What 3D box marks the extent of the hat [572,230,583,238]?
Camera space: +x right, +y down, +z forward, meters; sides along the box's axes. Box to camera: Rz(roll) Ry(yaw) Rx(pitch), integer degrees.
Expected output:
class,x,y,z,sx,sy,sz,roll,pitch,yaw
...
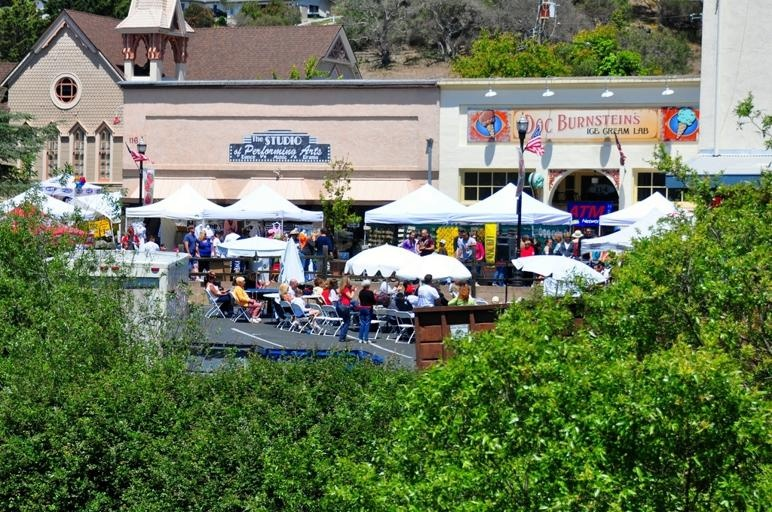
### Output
class,x,y,z,sx,sy,sz,roll,pitch,yaw
hat,8.843,-0.885,91.569,0.381,0.165,0.398,2,11,-7

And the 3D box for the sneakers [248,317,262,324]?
class,x,y,z,sx,sy,sz,roll,pitch,yaw
sneakers,-5.378,2.783,83.256,0.390,0.189,0.221,-3,3,17

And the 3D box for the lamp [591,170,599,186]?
class,x,y,z,sx,sy,sz,roll,pitch,yaw
lamp,11.003,-3.908,104.815,0.587,0.794,0.882,0,12,4

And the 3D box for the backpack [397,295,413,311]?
class,x,y,z,sx,sy,sz,roll,pitch,yaw
backpack,0.795,2.043,82.557,0.636,0.273,0.511,11,1,12

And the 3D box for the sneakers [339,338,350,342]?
class,x,y,z,sx,sy,sz,roll,pitch,yaw
sneakers,-1.664,3.525,81.630,0.389,0.180,0.137,-2,6,-4

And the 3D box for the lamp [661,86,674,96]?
class,x,y,z,sx,sy,sz,roll,pitch,yaw
lamp,13.534,-7.830,95.761,0.376,0.431,0.388,8,20,35

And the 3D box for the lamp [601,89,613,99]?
class,x,y,z,sx,sy,sz,roll,pitch,yaw
lamp,10.686,-7.690,96.278,0.576,0.449,0.331,2,12,11
